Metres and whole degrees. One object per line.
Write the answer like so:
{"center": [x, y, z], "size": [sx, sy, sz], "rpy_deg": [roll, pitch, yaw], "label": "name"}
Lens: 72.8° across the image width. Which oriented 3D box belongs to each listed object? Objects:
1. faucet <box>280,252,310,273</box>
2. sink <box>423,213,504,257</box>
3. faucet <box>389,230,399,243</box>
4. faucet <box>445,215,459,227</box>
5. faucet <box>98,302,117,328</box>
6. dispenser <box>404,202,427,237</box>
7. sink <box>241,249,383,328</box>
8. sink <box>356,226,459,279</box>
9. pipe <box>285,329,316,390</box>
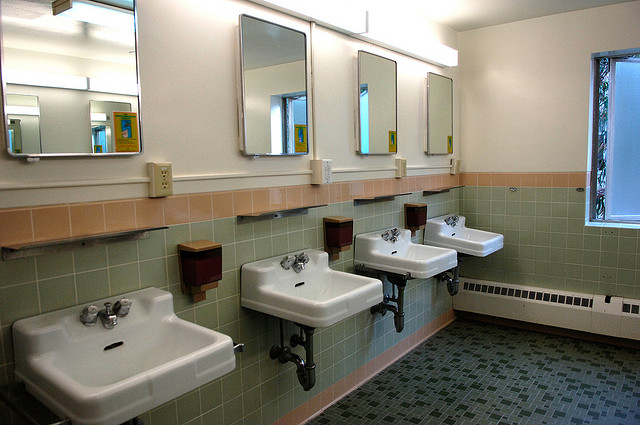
{"center": [-0.152, 0.332, 2.935], "size": [0.174, 0.117, 0.068], "rpy_deg": [15, -16, -29], "label": "faucet"}
{"center": [1.369, 0.146, 4.558], "size": [0.913, 0.378, 0.995], "rpy_deg": [5, 9, 39], "label": "sink"}
{"center": [0.630, 0.212, 3.727], "size": [0.061, 0.084, 0.030], "rpy_deg": [-32, 4, -18], "label": "faucet"}
{"center": [1.360, 0.080, 4.473], "size": [0.104, 0.093, 0.124], "rpy_deg": [-5, -11, -40], "label": "faucet"}
{"center": [-1.107, 0.530, 2.274], "size": [0.067, 0.097, 0.129], "rpy_deg": [-6, 22, -44], "label": "faucet"}
{"center": [0.895, 0.076, 4.119], "size": [0.223, 0.334, 0.219], "rpy_deg": [-6, 8, -26], "label": "dispenser"}
{"center": [-0.097, 0.498, 2.797], "size": [0.554, 0.283, 0.587], "rpy_deg": [5, 9, 39], "label": "sink"}
{"center": [0.663, 0.354, 3.529], "size": [0.508, 0.229, 0.542], "rpy_deg": [6, 11, 39], "label": "sink"}
{"center": [-0.144, 0.975, 2.928], "size": [0.239, 0.442, 0.133], "rpy_deg": [4, 9, 32], "label": "pipe"}
